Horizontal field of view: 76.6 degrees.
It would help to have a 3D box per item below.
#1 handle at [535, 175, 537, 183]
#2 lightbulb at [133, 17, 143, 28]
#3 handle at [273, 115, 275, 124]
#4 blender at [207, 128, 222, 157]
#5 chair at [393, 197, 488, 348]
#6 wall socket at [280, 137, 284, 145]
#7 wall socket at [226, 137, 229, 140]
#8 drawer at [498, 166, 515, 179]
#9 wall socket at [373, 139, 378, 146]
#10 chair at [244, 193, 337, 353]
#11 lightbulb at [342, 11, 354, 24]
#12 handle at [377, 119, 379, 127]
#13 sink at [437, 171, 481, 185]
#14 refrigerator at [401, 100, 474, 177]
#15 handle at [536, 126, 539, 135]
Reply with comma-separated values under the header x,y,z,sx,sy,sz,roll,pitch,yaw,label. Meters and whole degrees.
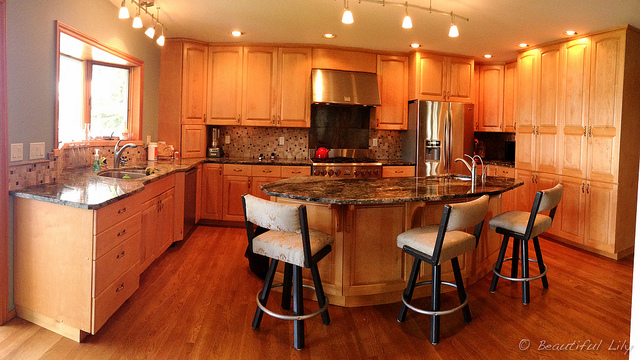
x,y,z,sx,sy,sz,roll,pitch,yaw,label
3.646,-0.028,6.843,0.030,0.141,0.038,0,0,2,handle
-2.223,-1.954,5.009,0.151,0.143,0.143,-4,23,-25,lightbulb
-0.811,-1.097,7.190,0.023,0.144,0.017,1,11,3,handle
-1.907,-0.696,7.360,0.254,0.516,0.375,-2,10,-12,blender
1.438,0.969,4.735,1.061,1.622,0.649,-7,12,-33,chair
-0.705,-0.746,7.604,0.072,0.129,0.013,-1,11,-3,wall socket
-1.720,-0.784,7.547,0.047,0.040,0.024,1,15,0,wall socket
3.361,-0.153,7.315,0.186,0.180,0.314,-1,5,-14,drawer
1.075,-0.738,7.835,0.089,0.122,0.012,-2,11,-13,wall socket
-0.376,0.960,4.695,1.037,1.668,0.790,6,12,28,chair
0.350,-1.989,4.874,0.157,0.151,0.147,8,37,12,lightbulb
1.070,-1.058,7.426,0.025,0.137,0.025,-1,10,-4,handle
2.052,-0.042,5.749,0.327,0.114,0.518,-5,10,-23,sink
2.164,-0.784,7.408,1.216,1.368,0.598,3,11,17,refrigerator
3.667,-0.851,6.832,0.013,0.137,0.054,-7,12,-33,handle
